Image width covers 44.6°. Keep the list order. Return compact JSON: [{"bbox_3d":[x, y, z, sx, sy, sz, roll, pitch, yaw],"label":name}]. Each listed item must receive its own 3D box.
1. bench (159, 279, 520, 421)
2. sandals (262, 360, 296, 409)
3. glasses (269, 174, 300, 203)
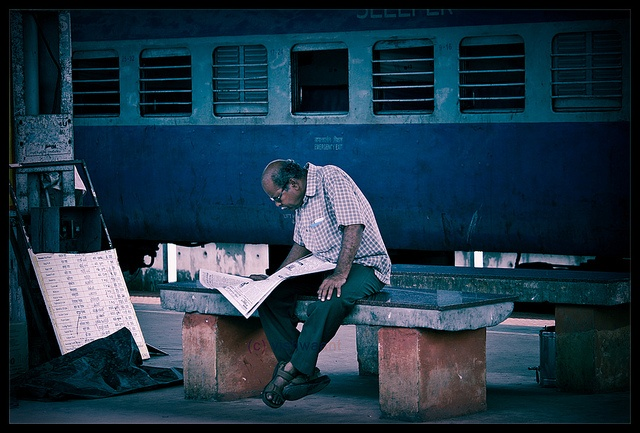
[{"bbox_3d":[0.040,1.150,7.123,3.122,1.030,1.020,-2,5,35],"label":"bench"},{"bbox_3d":[-0.299,1.280,6.228,0.171,0.448,0.179,33,-27,5],"label":"sandals"},{"bbox_3d":[-0.305,-0.233,6.487,0.061,0.199,0.190,17,-21,-29],"label":"glasses"}]
